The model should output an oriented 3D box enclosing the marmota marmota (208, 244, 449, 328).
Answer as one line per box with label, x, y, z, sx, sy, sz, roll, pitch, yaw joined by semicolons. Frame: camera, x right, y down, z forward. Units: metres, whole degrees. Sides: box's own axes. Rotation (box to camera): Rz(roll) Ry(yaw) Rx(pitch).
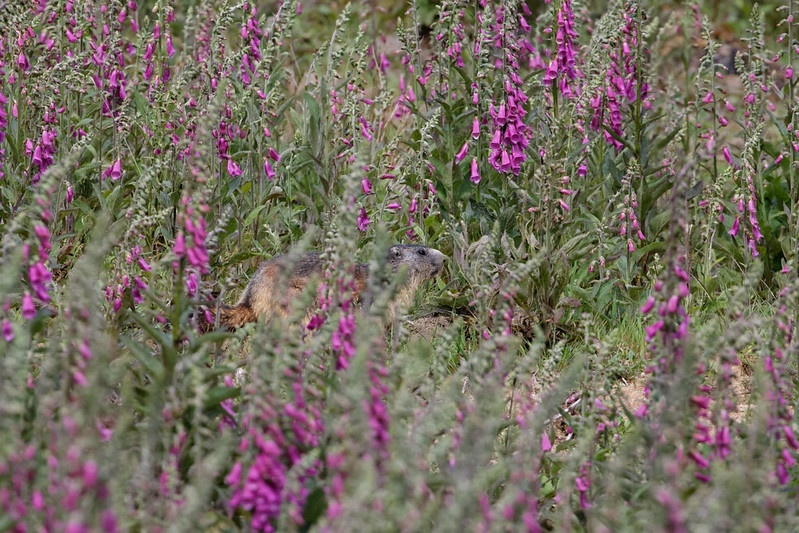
marmota marmota;-0.553;0.121;5.733;1.113;0.907;0.917;1;8;-1
